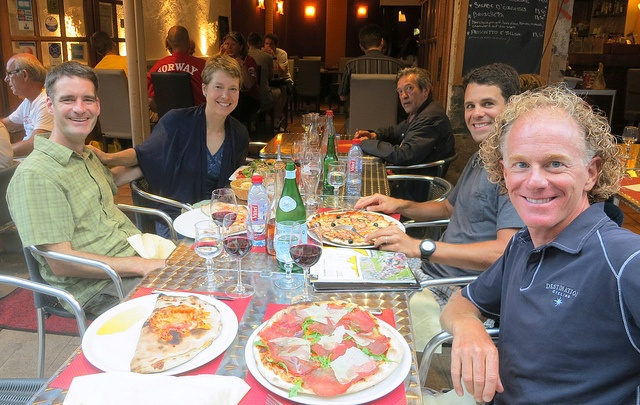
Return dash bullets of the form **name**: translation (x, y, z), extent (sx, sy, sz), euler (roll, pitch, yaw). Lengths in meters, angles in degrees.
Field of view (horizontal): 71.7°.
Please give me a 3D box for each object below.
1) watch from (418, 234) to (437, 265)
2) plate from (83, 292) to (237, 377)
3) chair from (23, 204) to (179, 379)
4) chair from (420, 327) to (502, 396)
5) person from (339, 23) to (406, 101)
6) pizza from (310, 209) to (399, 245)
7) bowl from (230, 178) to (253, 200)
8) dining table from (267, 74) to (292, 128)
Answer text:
- **watch**: translation (0.502, 0.221, 2.058), extent (0.084, 0.091, 0.091), euler (2, -11, 3)
- **plate**: translation (-0.539, 0.438, 1.516), extent (0.507, 0.123, 0.348), euler (-1, 15, -6)
- **chair**: translation (-1.184, 0.493, 2.432), extent (0.659, 0.868, 0.590), euler (0, 14, -18)
- **chair**: translation (0.534, 0.677, 1.856), extent (0.238, 0.275, 0.183), euler (4, -6, 16)
- **person**: translation (0.742, -1.800, 6.113), extent (1.050, 1.195, 0.564), euler (-4, 13, -1)
- **pizza**: translation (0.126, 0.079, 2.261), extent (0.255, 0.032, 0.259), euler (10, 32, 45)
- **bowl**: translation (-0.452, -0.074, 2.541), extent (0.136, 0.068, 0.129), euler (3, 17, -1)
- **dining table**: translation (-0.690, -1.912, 8.433), extent (0.324, 1.060, 0.481), euler (8, -10, -29)
